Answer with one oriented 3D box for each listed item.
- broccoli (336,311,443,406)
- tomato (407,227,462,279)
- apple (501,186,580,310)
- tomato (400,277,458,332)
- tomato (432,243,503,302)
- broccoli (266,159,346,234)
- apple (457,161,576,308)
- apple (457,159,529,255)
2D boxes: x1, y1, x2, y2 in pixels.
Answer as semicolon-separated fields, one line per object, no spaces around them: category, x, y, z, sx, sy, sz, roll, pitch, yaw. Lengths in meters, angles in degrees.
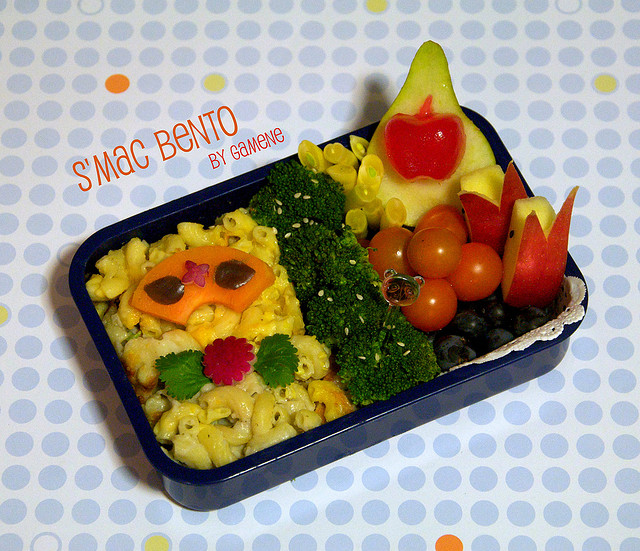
broccoli;0.188;0.240;2.102;0.235;0.265;0.092;-6;-18;5
tomato;0.324;-0.067;2.126;0.147;0.132;0.072;5;-10;-1
apple;0.624;-0.074;2.146;0.169;0.320;0.210;3;-10;-1
tomato;0.329;0.078;2.215;0.152;0.196;0.152;-12;25;-38
tomato;0.429;-0.012;2.168;0.202;0.146;0.194;3;28;10
broccoli;-0.040;-0.252;2.300;0.256;0.151;0.107;17;-10;1
apple;0.628;-0.118;2.195;0.197;0.267;0.199;4;-16;-11
apple;0.509;-0.204;2.295;0.211;0.279;0.186;-3;24;-3
